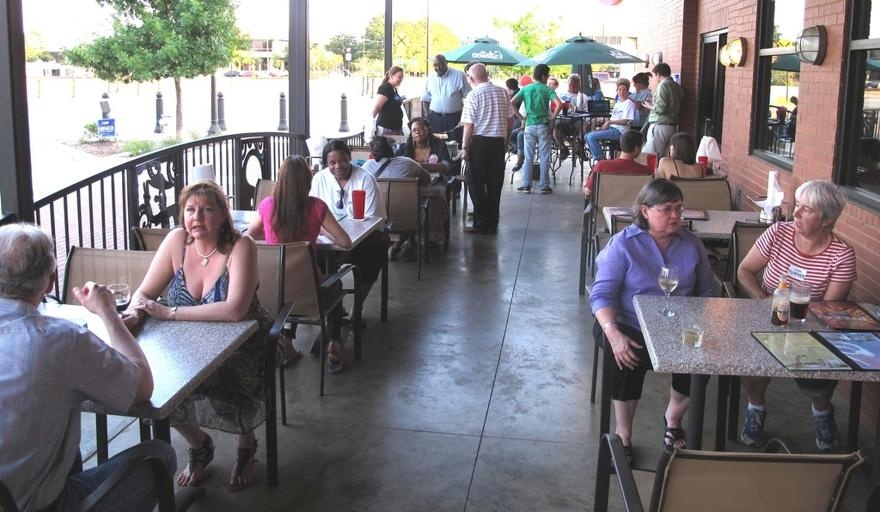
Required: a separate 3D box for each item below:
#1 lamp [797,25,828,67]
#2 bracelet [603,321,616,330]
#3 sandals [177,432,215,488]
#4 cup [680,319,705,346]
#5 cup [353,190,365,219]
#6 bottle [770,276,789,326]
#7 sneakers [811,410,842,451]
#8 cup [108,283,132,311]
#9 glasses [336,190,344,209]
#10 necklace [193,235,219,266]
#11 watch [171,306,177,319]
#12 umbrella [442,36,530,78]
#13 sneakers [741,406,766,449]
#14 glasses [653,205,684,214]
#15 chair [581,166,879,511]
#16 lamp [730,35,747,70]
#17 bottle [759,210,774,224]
[{"bbox_3d":[3.687,-2.069,6.018,0.129,0.376,0.395,1,12,6],"label":"lamp"},{"bbox_3d":[1.162,0.475,4.143,0.056,0.040,0.056,7,12,30],"label":"bracelet"},{"bbox_3d":[-1.649,1.413,4.184,0.160,0.428,0.172,13,-16,19],"label":"sandals"},{"bbox_3d":[1.513,0.447,3.613,0.143,0.133,0.129,-8,18,-23],"label":"cup"},{"bbox_3d":[-0.814,-0.521,6.147,0.138,0.287,0.127,-1,12,0],"label":"cup"},{"bbox_3d":[2.169,0.287,3.849,0.104,0.259,0.216,6,14,30],"label":"bottle"},{"bbox_3d":[2.826,1.276,4.430,0.128,0.354,0.162,-1,-2,26],"label":"sneakers"},{"bbox_3d":[-1.968,0.255,3.729,0.127,0.187,0.129,6,19,-2],"label":"cup"},{"bbox_3d":[-1.049,-0.595,6.474,0.117,0.162,0.046,27,18,21],"label":"glasses"},{"bbox_3d":[-1.594,-0.050,4.103,0.129,0.209,0.017,5,12,7],"label":"necklace"},{"bbox_3d":[-1.679,0.364,3.847,0.045,0.060,0.015,-2,-6,21],"label":"watch"},{"bbox_3d":[1.061,-4.748,14.258,1.849,0.744,1.811,-1,25,-4],"label":"umbrella"},{"bbox_3d":[2.341,1.278,4.533,0.127,0.150,0.367,3,15,16],"label":"sneakers"},{"bbox_3d":[1.627,-0.327,4.341,0.200,0.074,0.047,-1,12,-1],"label":"glasses"},{"bbox_3d":[2.161,0.578,4.459,2.303,2.111,1.985,2,12,10],"label":"chair"},{"bbox_3d":[4.319,-2.943,8.792,0.171,0.408,0.413,1,12,10],"label":"lamp"},{"bbox_3d":[3.106,-0.364,5.755,0.104,0.170,0.178,2,-3,39],"label":"bottle"}]
